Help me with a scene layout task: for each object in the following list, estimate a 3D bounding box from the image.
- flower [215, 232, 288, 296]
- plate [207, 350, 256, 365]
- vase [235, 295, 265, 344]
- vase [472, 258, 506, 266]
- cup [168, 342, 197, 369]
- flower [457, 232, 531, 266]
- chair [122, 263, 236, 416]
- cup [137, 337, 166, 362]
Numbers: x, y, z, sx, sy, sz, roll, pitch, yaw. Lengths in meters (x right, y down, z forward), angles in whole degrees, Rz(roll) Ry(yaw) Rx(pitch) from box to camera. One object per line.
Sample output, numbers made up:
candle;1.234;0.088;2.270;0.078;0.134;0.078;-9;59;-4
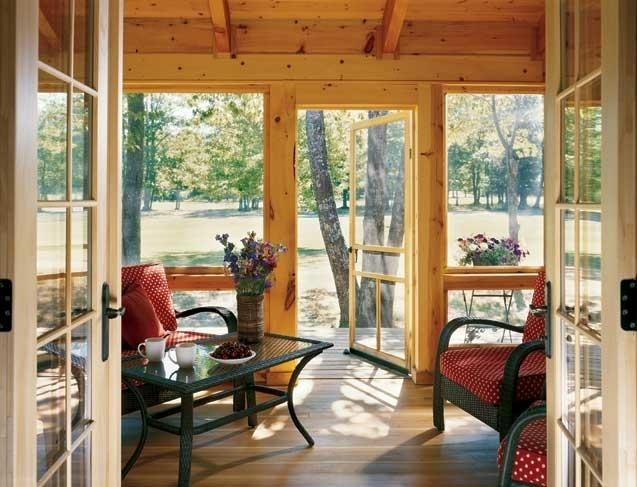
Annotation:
flower;-0.433;0.133;3.910;0.407;0.434;0.402;1;-4;-13
plate;-0.495;0.648;3.429;0.259;0.046;0.156;0;5;0
vase;-0.430;0.460;3.831;0.167;0.282;0.169;-2;4;-32
vase;1.412;0.149;5.055;0.157;0.055;0.116;0;0;2
cup;-0.772;0.625;3.382;0.174;0.130;0.117;0;1;7
flower;1.443;0.053;5.078;0.588;0.254;0.112;-1;4;-11
chair;-1.027;0.658;4.663;0.759;1.059;1.321;2;-7;-7
cup;-0.958;0.604;3.484;0.181;0.137;0.120;0;-1;19
